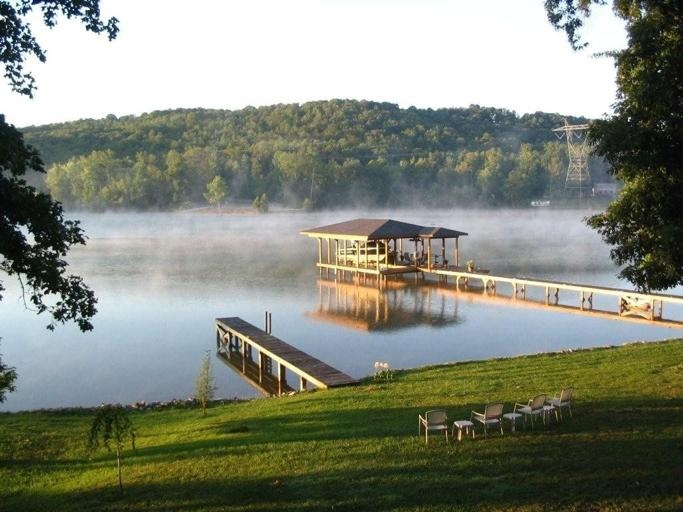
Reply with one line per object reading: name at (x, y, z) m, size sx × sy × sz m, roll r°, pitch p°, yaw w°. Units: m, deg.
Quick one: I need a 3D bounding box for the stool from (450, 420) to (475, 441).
stool at (3.427, 4.801, 25.594) m, size 0.484 × 0.420 × 0.498 m, roll -4°, pitch 7°, yaw -14°

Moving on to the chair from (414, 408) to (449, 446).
chair at (2.584, 4.701, 25.692) m, size 0.792 × 1.228 × 0.827 m, roll 0°, pitch 2°, yaw 0°

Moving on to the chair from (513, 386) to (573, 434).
chair at (5.825, 4.260, 26.405) m, size 1.764 × 0.955 × 1.098 m, roll -3°, pitch 1°, yaw -24°

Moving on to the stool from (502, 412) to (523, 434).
stool at (4.860, 4.672, 25.990) m, size 0.457 × 0.431 × 0.516 m, roll -1°, pitch 3°, yaw 11°

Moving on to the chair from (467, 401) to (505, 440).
chair at (4.125, 4.475, 25.848) m, size 0.721 × 1.058 × 0.730 m, roll -6°, pitch 12°, yaw -39°
